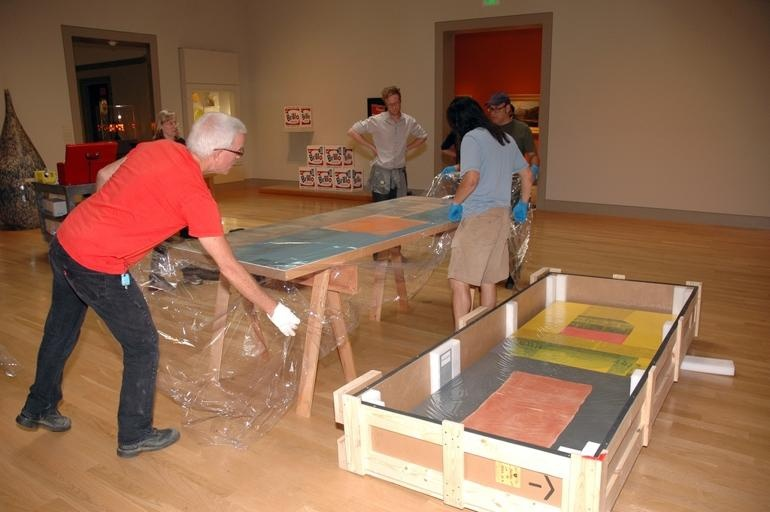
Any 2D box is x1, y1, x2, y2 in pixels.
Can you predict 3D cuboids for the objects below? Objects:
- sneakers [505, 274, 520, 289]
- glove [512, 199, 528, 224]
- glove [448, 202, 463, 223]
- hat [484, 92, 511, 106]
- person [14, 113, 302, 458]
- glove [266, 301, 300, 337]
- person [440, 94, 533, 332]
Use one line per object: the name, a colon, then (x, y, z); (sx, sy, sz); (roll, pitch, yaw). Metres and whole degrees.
sneakers: (1.177, 0.247, 4.827); (0.127, 0.178, 0.173); (0, 2, 4)
glove: (1.117, -0.351, 4.167); (0.061, 0.197, 0.141); (12, -3, -40)
glove: (0.521, -0.312, 3.747); (0.111, 0.146, 0.086); (-12, 54, -10)
hat: (1.070, -1.425, 4.727); (0.212, 0.113, 0.152); (-8, 14, -36)
person: (-1.158, 0.124, 2.942); (1.361, 1.789, 1.014); (10, 12, -7)
glove: (-0.513, 0.334, 2.632); (0.145, 0.188, 0.078); (-46, 24, -2)
person: (0.661, -0.326, 3.680); (0.471, 1.565, 0.992); (9, 20, 31)
